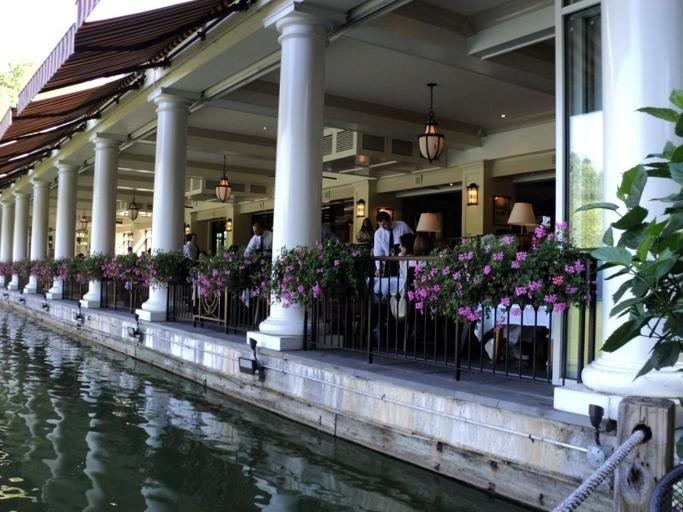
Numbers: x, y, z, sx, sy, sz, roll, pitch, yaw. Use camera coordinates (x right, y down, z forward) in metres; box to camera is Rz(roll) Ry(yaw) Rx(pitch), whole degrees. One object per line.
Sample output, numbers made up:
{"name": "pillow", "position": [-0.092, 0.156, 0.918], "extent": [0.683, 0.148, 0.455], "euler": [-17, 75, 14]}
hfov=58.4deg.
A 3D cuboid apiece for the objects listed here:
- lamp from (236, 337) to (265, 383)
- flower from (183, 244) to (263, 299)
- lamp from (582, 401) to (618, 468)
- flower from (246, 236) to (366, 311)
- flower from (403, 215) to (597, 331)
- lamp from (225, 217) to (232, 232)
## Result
{"name": "lamp", "position": [-0.970, 1.130, 6.570], "extent": [0.196, 0.503, 0.442], "euler": [5, -10, -35]}
{"name": "flower", "position": [-1.401, 0.211, 7.455], "extent": [0.693, 0.520, 0.706], "euler": [-2, 6, 33]}
{"name": "lamp", "position": [1.609, 1.116, 3.805], "extent": [0.145, 0.390, 0.283], "euler": [1, 1, 23]}
{"name": "flower", "position": [-0.285, 0.190, 6.313], "extent": [1.303, 0.692, 0.420], "euler": [1, 1, 33]}
{"name": "flower", "position": [1.250, 0.165, 4.696], "extent": [0.907, 0.488, 0.921], "euler": [-18, 16, -29]}
{"name": "lamp", "position": [-3.886, -1.112, 21.000], "extent": [0.233, 0.493, 0.461], "euler": [3, -5, -26]}
